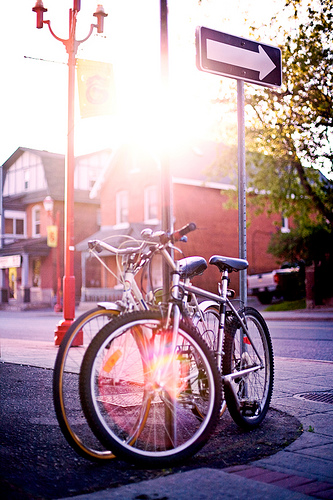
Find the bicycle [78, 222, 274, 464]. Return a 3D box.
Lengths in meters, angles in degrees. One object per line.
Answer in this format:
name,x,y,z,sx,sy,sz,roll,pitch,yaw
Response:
bicycle,0.119,0.701,3.358,0.735,1.308,1.981,-7,-9,31

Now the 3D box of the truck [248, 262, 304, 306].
truck,5.256,1.583,25.140,2.378,1.128,1.293,-4,0,-40
